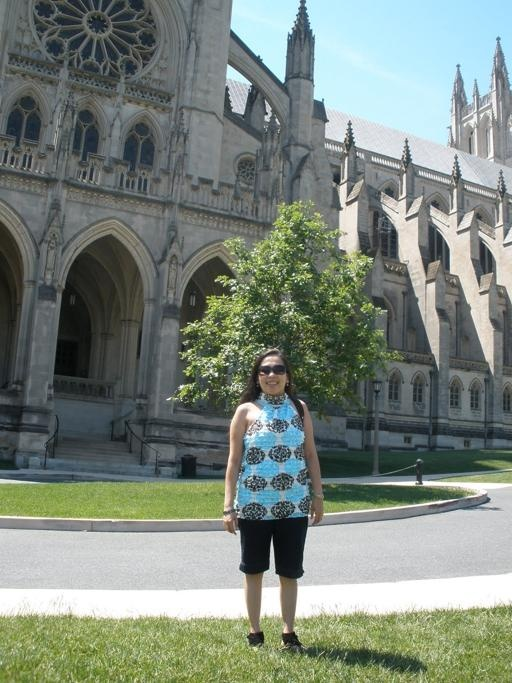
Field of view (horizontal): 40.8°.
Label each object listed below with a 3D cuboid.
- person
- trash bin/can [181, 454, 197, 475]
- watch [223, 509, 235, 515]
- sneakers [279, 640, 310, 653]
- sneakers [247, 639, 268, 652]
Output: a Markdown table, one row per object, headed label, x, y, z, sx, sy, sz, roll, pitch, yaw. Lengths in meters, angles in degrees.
| label | x | y | z | sx | sy | sz | roll | pitch | yaw |
| --- | --- | --- | --- | --- | --- | --- | --- | --- | --- |
| person | 0.112 | 0.866 | 4.036 | 0.581 | 1.685 | 0.433 | 3 | -8 | -1 |
| trash bin/can | -2.055 | 3.759 | 20.999 | 0.531 | 0.777 | 0.469 | 6 | -16 | -28 |
| watch | -0.159 | 0.978 | 3.956 | 0.054 | 0.020 | 0.040 | -10 | -2 | -6 |
| sneakers | 0.199 | 1.637 | 3.706 | 0.142 | 0.058 | 0.048 | -1 | 0 | 10 |
| sneakers | -0.001 | 1.636 | 3.743 | 0.088 | 0.067 | 0.140 | 3 | -8 | -1 |
